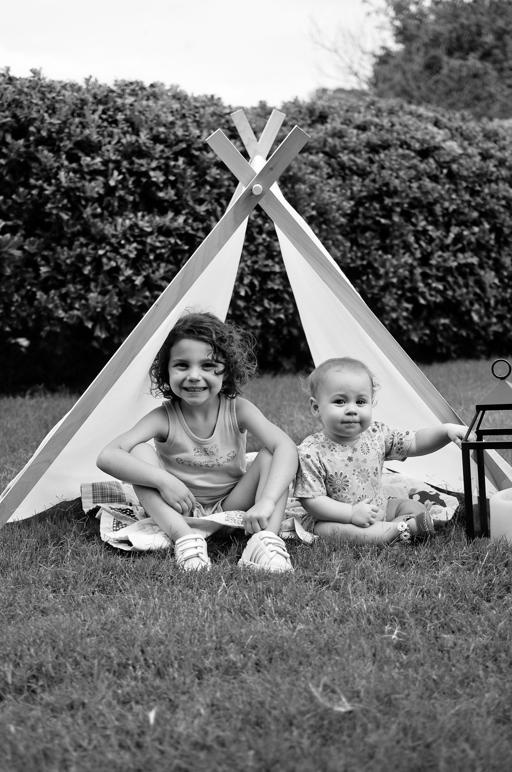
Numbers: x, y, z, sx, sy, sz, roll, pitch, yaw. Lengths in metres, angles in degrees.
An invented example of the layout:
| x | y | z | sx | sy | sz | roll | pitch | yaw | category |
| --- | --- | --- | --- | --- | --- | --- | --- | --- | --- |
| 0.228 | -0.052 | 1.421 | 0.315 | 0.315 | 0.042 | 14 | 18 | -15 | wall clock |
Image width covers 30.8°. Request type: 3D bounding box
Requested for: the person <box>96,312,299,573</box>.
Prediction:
| x | y | z | sx | sy | sz | roll | pitch | yaw | category |
| --- | --- | --- | --- | --- | --- | --- | --- | --- | --- |
| -0.170 | 0.127 | 2.668 | 0.576 | 0.611 | 0.732 | -4 | 13 | -11 | person |

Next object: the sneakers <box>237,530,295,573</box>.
| x | y | z | sx | sy | sz | roll | pitch | yaw | category |
| --- | --- | --- | --- | --- | --- | --- | --- | --- | --- |
| 0.026 | 0.438 | 2.426 | 0.065 | 0.071 | 0.171 | 9 | -11 | -24 | sneakers |
